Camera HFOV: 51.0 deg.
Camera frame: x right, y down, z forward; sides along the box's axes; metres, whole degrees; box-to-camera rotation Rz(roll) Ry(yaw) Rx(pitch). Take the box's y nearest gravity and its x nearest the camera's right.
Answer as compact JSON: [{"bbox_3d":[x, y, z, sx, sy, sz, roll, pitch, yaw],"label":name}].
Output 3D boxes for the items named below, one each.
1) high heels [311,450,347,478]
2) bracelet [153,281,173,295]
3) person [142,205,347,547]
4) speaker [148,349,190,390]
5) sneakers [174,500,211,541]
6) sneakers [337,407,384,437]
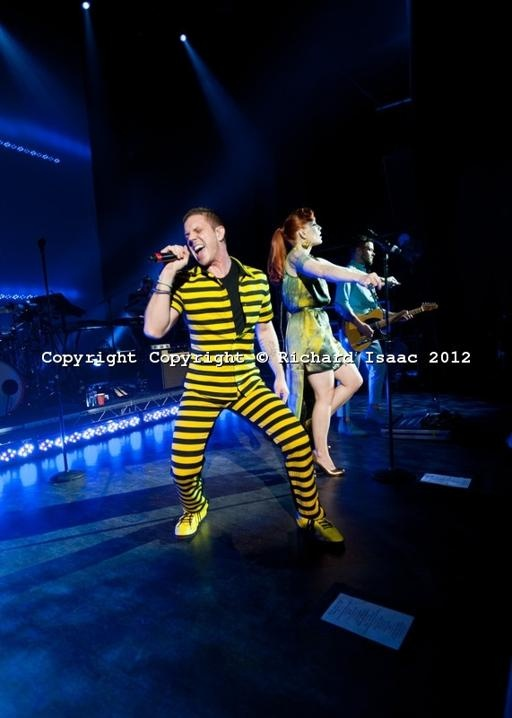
[{"bbox_3d":[0.513,0.785,3.860,0.303,0.127,0.112,1,-7,34],"label":"high heels"},{"bbox_3d":[-0.434,-0.324,2.493,0.086,0.057,0.070,-5,6,-8],"label":"bracelet"},{"bbox_3d":[-0.051,0.103,2.730,0.893,1.625,0.545,-2,5,2],"label":"person"},{"bbox_3d":[-1.115,0.135,6.680,0.306,0.543,0.563,-1,-1,26],"label":"speaker"},{"bbox_3d":[-0.355,0.910,2.949,0.093,0.103,0.264,0,-12,10],"label":"sneakers"},{"bbox_3d":[1.047,0.671,5.436,0.189,0.246,0.587,1,-14,-22],"label":"sneakers"}]
